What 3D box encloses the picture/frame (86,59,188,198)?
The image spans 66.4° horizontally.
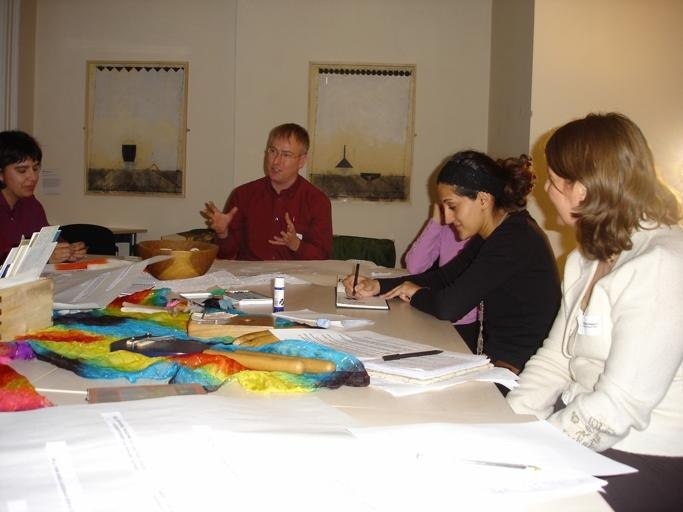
[{"bbox_3d":[-1.852,-1.223,4.750,1.163,1.421,0.094,0,0,-4],"label":"picture/frame"}]

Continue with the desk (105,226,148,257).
[{"bbox_3d":[-1.904,-0.159,4.626,0.317,0.308,0.318,4,5,45],"label":"desk"}]

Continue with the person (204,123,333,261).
[{"bbox_3d":[-0.399,-0.403,3.374,0.703,0.901,0.585,4,10,0],"label":"person"}]

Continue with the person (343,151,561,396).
[{"bbox_3d":[0.484,0.243,2.178,0.859,1.265,0.500,3,8,23],"label":"person"}]
